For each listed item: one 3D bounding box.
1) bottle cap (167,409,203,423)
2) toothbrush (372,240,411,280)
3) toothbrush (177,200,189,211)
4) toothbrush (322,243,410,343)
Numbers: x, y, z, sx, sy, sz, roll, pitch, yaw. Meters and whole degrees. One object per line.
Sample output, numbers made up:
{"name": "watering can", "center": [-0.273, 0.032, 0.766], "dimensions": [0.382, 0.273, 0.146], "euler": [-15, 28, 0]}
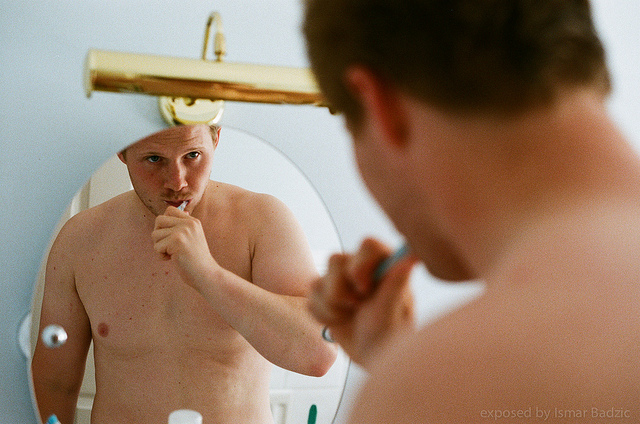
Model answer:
{"name": "bottle cap", "center": [-0.233, 0.359, 1.442], "dimensions": [0.059, 0.024, 0.014], "euler": [-7, 33, -3]}
{"name": "toothbrush", "center": [0.111, 0.079, 1.301], "dimensions": [0.009, 0.075, 0.013], "euler": [11, 33, -53]}
{"name": "toothbrush", "center": [-0.239, -0.008, 1.440], "dimensions": [0.012, 0.020, 0.005], "euler": [5, -8, 1]}
{"name": "toothbrush", "center": [0.075, 0.132, 1.307], "dimensions": [0.031, 0.197, 0.023], "euler": [44, 15, 27]}
